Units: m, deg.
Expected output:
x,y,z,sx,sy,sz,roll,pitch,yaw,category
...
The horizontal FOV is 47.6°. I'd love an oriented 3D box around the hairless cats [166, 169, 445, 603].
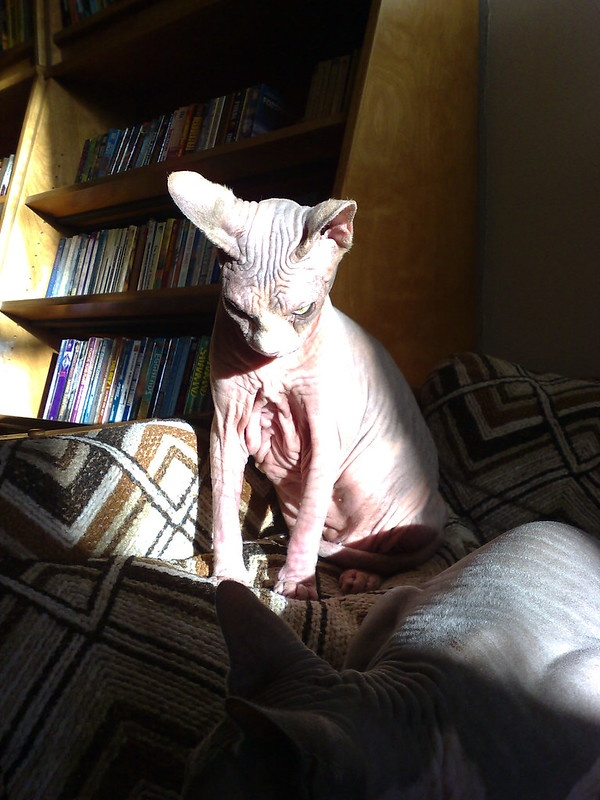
x,y,z,sx,sy,sz,roll,pitch,yaw,category
0.025,-0.015,0.958,0.244,0.539,0.387,19,26,37,hairless cats
